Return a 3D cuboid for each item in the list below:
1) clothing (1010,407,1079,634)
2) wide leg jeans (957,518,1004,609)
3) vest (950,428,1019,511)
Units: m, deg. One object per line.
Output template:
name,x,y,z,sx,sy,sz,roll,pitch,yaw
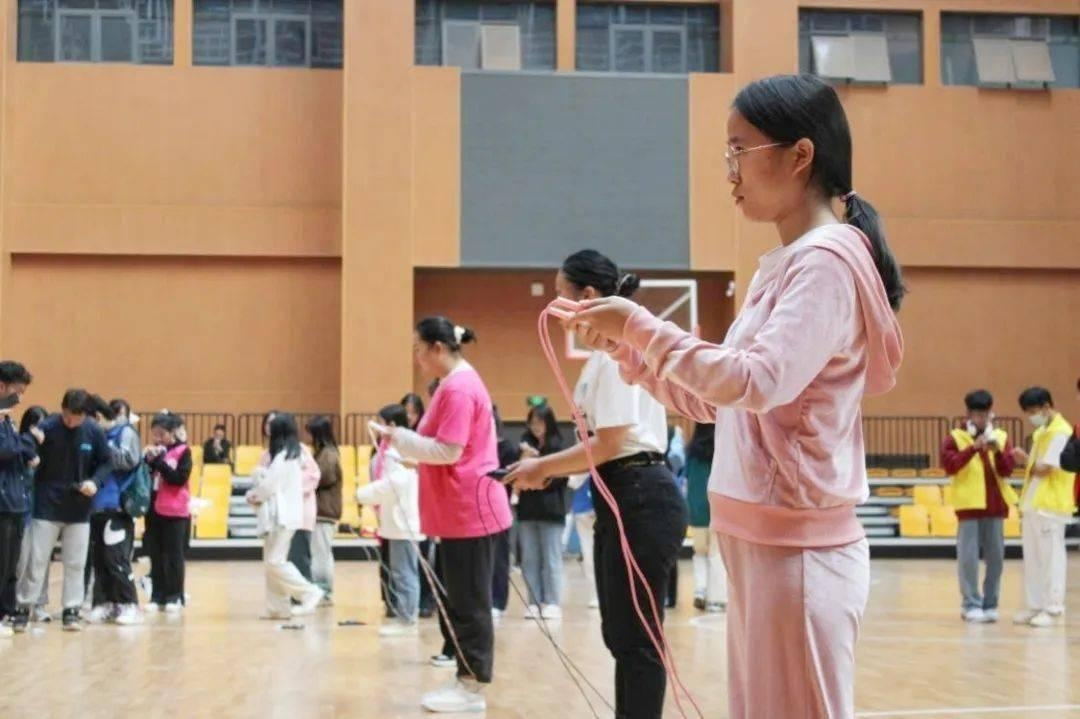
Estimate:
clothing,6.246,1.938,23.745,0.695,2.657,0.443,-2,-2,18
wide leg jeans,5.514,2.550,24.036,0.535,1.160,0.435,-2,-2,10
vest,5.549,1.381,24.118,0.912,1.187,0.685,3,-20,-6
